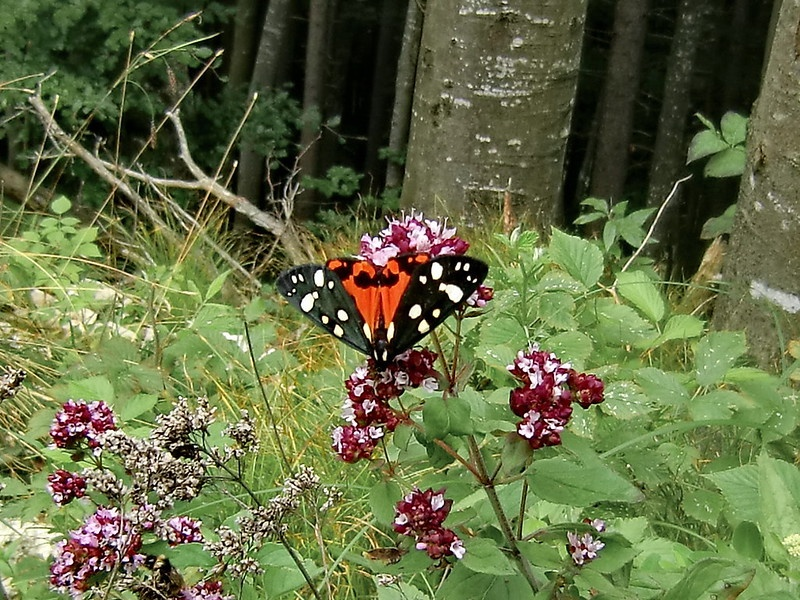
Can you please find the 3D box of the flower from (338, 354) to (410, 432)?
[{"bbox_3d":[-0.135,0.467,5.620,0.292,0.342,0.223,5,10,-5],"label":"flower"}]

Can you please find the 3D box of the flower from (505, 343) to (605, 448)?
[{"bbox_3d":[0.741,0.475,5.548,0.421,0.526,0.280,12,-15,-2],"label":"flower"}]

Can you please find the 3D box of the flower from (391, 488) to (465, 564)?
[{"bbox_3d":[0.098,1.094,5.454,0.307,0.216,0.381,4,10,30],"label":"flower"}]

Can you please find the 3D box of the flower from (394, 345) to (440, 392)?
[{"bbox_3d":[0.081,0.328,5.480,0.178,0.193,0.107,-31,11,-13],"label":"flower"}]

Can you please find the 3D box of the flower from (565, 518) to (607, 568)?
[{"bbox_3d":[0.940,1.214,5.558,0.206,0.178,0.130,-6,25,-21],"label":"flower"}]

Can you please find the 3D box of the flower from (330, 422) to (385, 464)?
[{"bbox_3d":[-0.214,0.715,5.571,0.197,0.138,0.216,-30,18,4],"label":"flower"}]
